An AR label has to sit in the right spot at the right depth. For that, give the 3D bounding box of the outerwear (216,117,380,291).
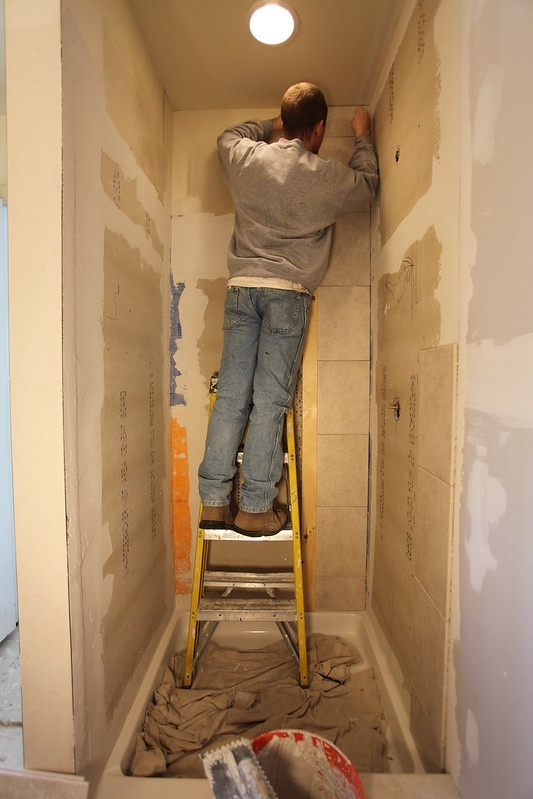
[{"bbox_3d":[0.089,-0.623,1.968,0.473,0.478,0.581,18,41,25],"label":"outerwear"}]

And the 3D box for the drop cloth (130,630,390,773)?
[{"bbox_3d":[-0.010,0.914,1.816,0.385,0.129,0.471,1,12,1],"label":"drop cloth"}]
